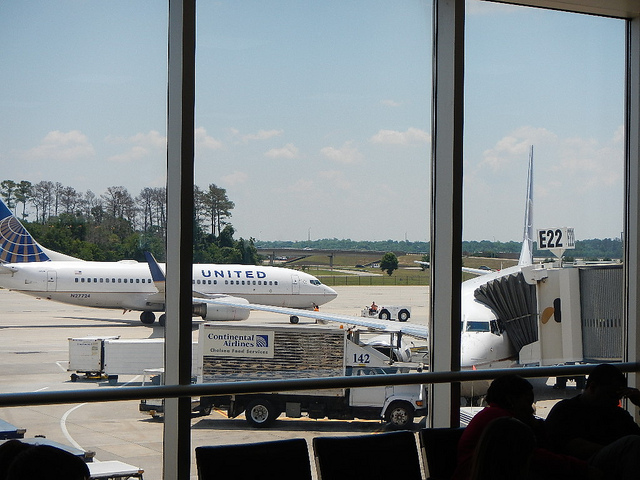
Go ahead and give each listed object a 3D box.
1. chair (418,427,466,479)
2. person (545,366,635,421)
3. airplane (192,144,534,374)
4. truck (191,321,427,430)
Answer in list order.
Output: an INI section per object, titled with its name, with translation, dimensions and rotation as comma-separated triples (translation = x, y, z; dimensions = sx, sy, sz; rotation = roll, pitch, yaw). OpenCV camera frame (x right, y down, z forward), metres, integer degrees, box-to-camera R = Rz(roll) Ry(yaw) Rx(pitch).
[chair]
translation = 1.204, 2.109, 11.170
dimensions = 0.479, 0.561, 0.443
rotation = -3, -5, 37
[person]
translation = 2.715, 1.553, 11.306
dimensions = 0.832, 0.554, 0.228
rotation = -2, -5, 7
[airplane]
translation = 0.573, 0.395, 17.663
dimensions = 4.675, 2.435, 5.214
rotation = -1, 2, -25
[truck]
translation = 0.059, 2.131, 18.208
dimensions = 4.022, 1.608, 1.183
rotation = -2, 0, 26
